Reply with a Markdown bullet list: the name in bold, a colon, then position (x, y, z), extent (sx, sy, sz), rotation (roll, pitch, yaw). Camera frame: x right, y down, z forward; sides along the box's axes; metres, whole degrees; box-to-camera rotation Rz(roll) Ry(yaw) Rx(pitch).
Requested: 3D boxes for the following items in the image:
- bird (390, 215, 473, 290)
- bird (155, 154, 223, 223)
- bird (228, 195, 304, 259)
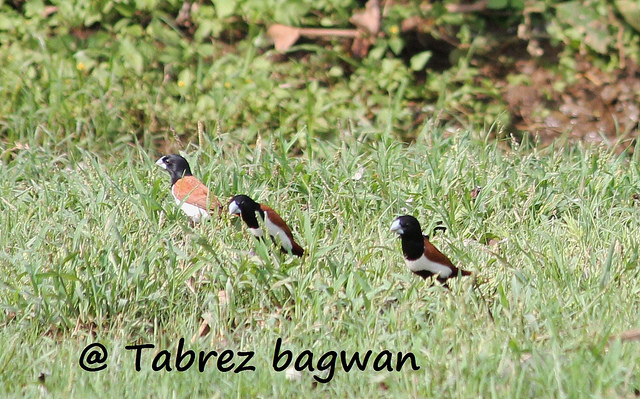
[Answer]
- **bird**: position (0.623, 0.320, 3.765), extent (0.639, 0.221, 0.471), rotation (-1, 89, -40)
- **bird**: position (-0.849, -0.073, 4.378), extent (0.483, 0.203, 0.372), rotation (14, 96, -2)
- **bird**: position (-0.284, 0.172, 4.089), extent (0.700, 0.229, 0.403), rotation (7, 61, -56)
